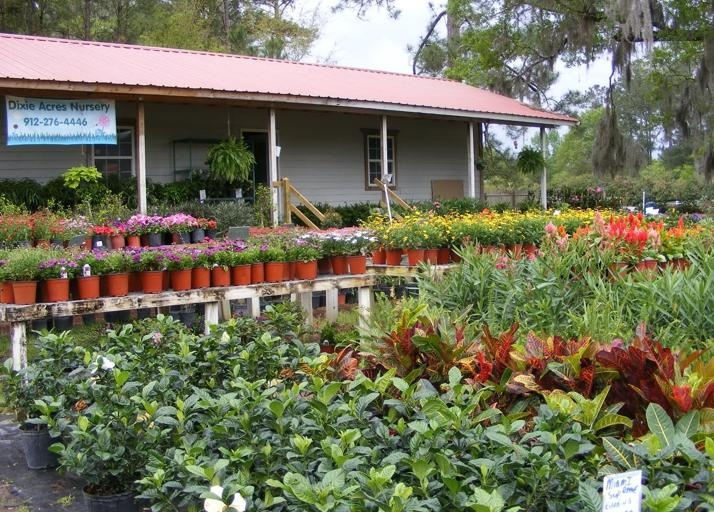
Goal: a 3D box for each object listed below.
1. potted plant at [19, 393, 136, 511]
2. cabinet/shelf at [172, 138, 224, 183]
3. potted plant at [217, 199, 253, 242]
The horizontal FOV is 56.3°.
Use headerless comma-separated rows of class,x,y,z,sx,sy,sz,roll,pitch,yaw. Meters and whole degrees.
potted plant,-2.189,1.513,5.198,0.820,0.682,1.002,3,2,31
cabinet/shelf,-3.133,-1.897,12.971,0.985,1.102,0.694,-6,10,-38
potted plant,-1.832,-0.611,10.564,0.710,0.851,0.625,-1,4,-14
